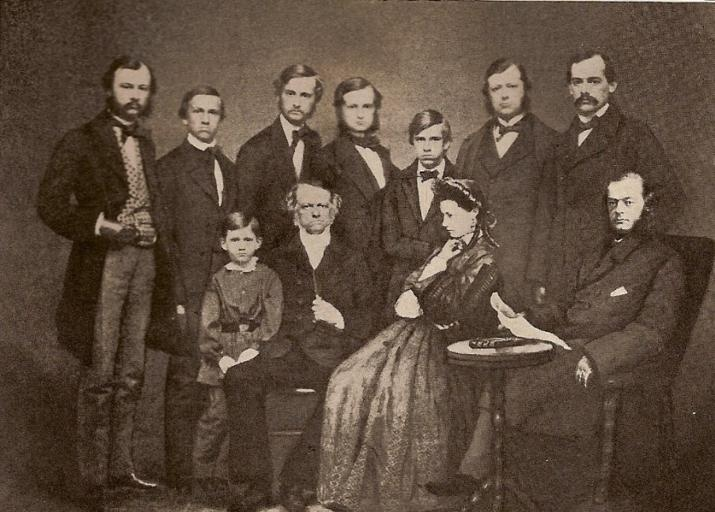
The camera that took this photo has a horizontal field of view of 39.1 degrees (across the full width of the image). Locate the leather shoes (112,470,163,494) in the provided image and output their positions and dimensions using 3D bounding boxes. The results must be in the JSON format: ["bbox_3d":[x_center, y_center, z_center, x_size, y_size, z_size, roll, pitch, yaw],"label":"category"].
[{"bbox_3d":[-2.306,2.330,10.495,0.409,0.133,0.215,8,-6,10],"label":"leather shoes"}]

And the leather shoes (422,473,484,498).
[{"bbox_3d":[0.993,2.384,10.460,0.462,0.248,0.084,7,10,-8],"label":"leather shoes"}]

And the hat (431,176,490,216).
[{"bbox_3d":[1.080,-0.659,10.686,0.455,0.179,0.383,19,12,21],"label":"hat"}]
